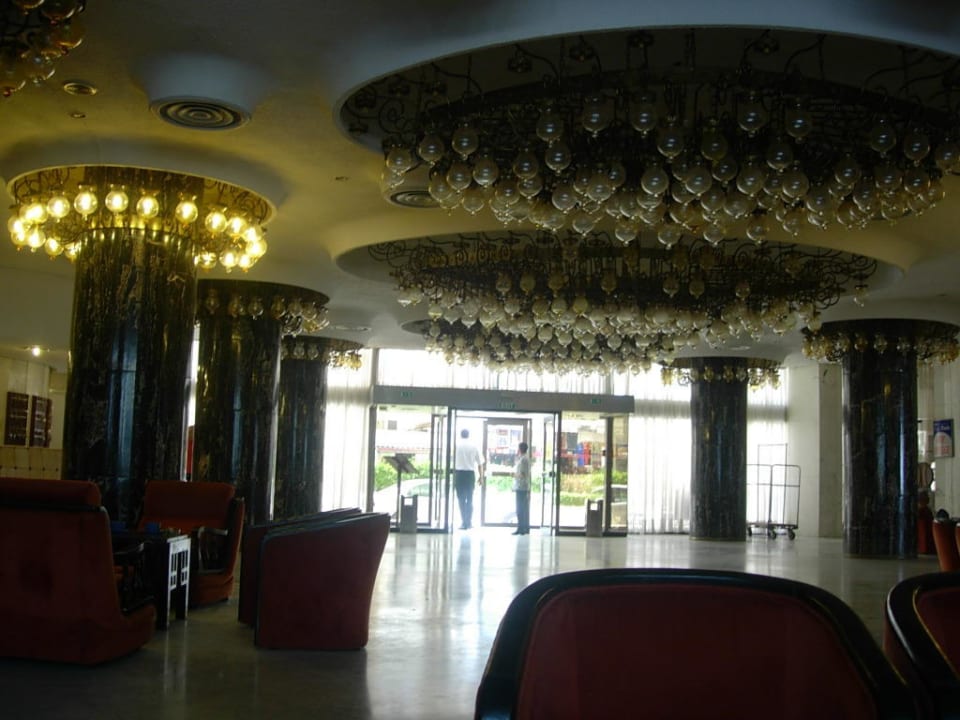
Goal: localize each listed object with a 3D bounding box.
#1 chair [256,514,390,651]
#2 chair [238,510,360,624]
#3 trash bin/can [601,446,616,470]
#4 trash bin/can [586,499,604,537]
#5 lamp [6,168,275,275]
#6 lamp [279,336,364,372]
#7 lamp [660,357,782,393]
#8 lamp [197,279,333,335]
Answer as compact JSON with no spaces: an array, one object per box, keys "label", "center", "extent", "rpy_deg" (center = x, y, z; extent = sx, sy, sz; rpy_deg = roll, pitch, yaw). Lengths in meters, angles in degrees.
[{"label":"chair","center":[-1.414,1.994,7.191],"extent":[0.999,1.177,1.163],"rpy_deg":[3,-12,-3]},{"label":"chair","center":[-1.714,1.981,7.470],"extent":[1.157,1.507,1.061],"rpy_deg":[5,-14,-18]},{"label":"trash bin/can","center":[3.232,2.451,18.767],"extent":[0.403,0.808,0.416],"rpy_deg":[1,-6,-4]},{"label":"trash bin/can","center":[2.752,3.735,18.162],"extent":[0.533,0.830,0.220],"rpy_deg":[-5,-1,-11]},{"label":"lamp","center":[-3.807,-1.735,8.670],"extent":[2.714,0.903,1.792],"rpy_deg":[-5,-2,-10]},{"label":"lamp","center":[-3.444,-0.149,16.647],"extent":[1.697,0.622,1.021],"rpy_deg":[-5,-2,-20]},{"label":"lamp","center":[5.751,0.283,18.072],"extent":[2.493,0.790,2.802],"rpy_deg":[-7,-2,21]},{"label":"lamp","center":[-3.501,-0.934,12.679],"extent":[1.360,0.382,1.332],"rpy_deg":[3,-3,-28]}]
